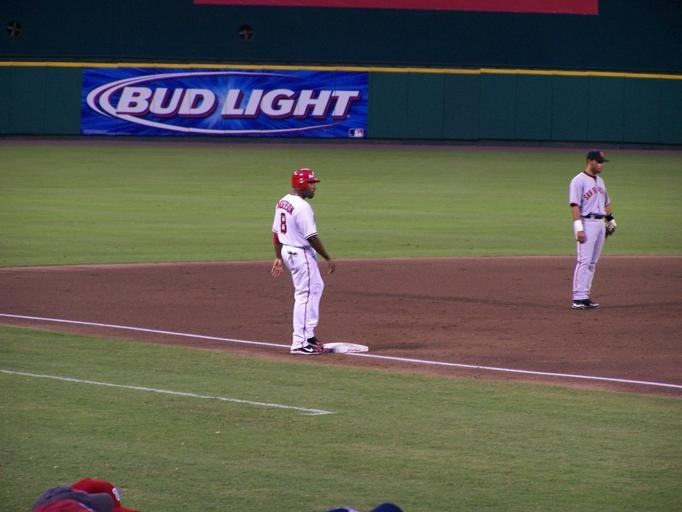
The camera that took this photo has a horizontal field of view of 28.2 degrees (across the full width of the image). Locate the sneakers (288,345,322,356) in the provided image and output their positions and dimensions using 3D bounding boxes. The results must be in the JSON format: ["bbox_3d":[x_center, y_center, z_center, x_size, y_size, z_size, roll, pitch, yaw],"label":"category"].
[{"bbox_3d":[-0.564,1.477,21.404,0.506,0.158,0.165,-1,2,-2],"label":"sneakers"}]

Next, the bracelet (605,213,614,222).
[{"bbox_3d":[4.684,-0.658,23.753,0.220,0.156,0.180,-3,14,5],"label":"bracelet"}]

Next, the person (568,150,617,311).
[{"bbox_3d":[4.343,-0.480,23.772,0.814,2.101,1.206,6,3,10],"label":"person"}]

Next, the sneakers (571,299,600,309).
[{"bbox_3d":[4.221,0.827,23.558,0.482,0.152,0.169,-2,7,-14],"label":"sneakers"}]
